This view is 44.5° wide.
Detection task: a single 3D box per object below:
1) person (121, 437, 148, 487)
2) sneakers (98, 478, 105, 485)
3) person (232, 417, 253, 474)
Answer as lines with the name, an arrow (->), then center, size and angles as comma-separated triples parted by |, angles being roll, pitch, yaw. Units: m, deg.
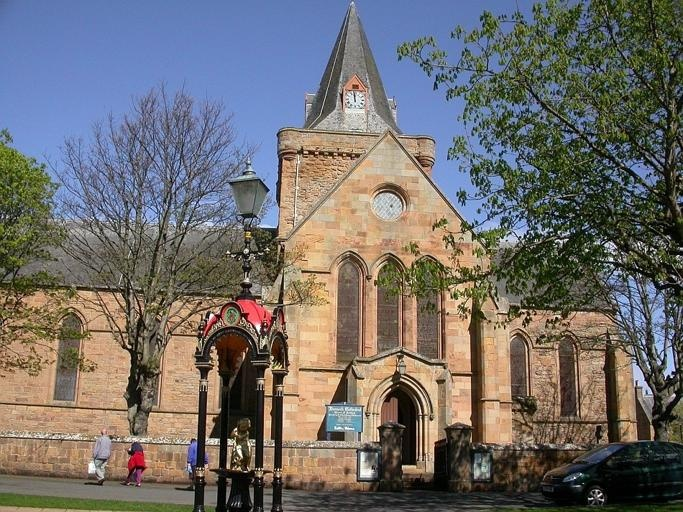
person -> -7.591, 7.649, 30.714 | 0.727, 1.724, 1.268 | 6, -19, -13
sneakers -> -8.667, 8.165, 30.051 | 0.212, 0.109, 0.245 | 2, -20, -10
person -> -2.504, 4.722, 20.765 | 0.489, 1.406, 1.127 | 4, -19, -7
